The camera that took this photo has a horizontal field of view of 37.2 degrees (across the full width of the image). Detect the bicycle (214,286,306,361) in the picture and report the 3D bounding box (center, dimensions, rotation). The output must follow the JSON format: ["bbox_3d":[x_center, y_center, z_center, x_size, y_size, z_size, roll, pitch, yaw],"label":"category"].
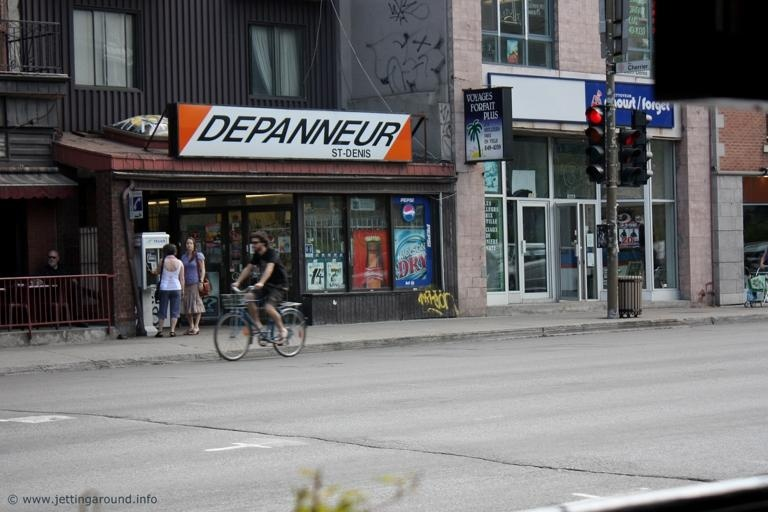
[{"bbox_3d":[-2.470,1.384,22.790,2.220,1.333,0.965,0,-7,-39],"label":"bicycle"}]

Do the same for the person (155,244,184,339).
[{"bbox_3d":[-4.897,0.791,26.206,0.679,1.632,0.507,-3,-1,-22],"label":"person"}]

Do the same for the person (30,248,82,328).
[{"bbox_3d":[-7.521,0.738,25.829,1.182,1.701,1.075,0,1,-14],"label":"person"}]

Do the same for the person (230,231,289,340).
[{"bbox_3d":[-2.400,0.632,22.808,0.890,1.823,0.825,-3,-2,-36],"label":"person"}]

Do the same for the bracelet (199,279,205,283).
[{"bbox_3d":[-4.255,0.598,26.727,0.073,0.114,0.072,1,-5,-29],"label":"bracelet"}]

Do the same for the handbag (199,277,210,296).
[{"bbox_3d":[-4.221,0.731,26.760,0.214,0.402,0.400,8,-14,-38],"label":"handbag"}]

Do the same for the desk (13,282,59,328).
[{"bbox_3d":[-7.621,0.974,25.344,0.693,1.202,0.747,-8,25,-24],"label":"desk"}]
